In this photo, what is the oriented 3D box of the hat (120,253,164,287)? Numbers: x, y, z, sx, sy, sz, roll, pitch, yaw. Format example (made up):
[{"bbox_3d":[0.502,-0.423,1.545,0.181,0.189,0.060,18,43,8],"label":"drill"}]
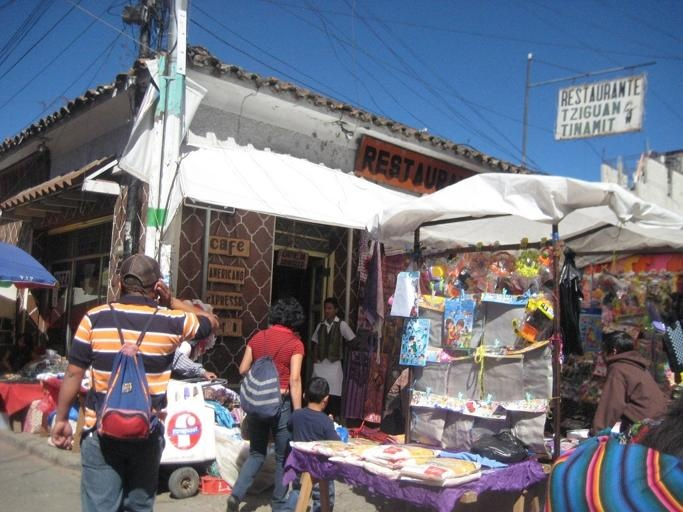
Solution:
[{"bbox_3d":[-1.514,0.119,4.555,0.289,0.255,0.452,-7,-4,-9],"label":"hat"}]

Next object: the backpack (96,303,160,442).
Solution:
[{"bbox_3d":[-1.473,0.781,4.149,0.349,0.895,0.182,5,-9,-19],"label":"backpack"}]
